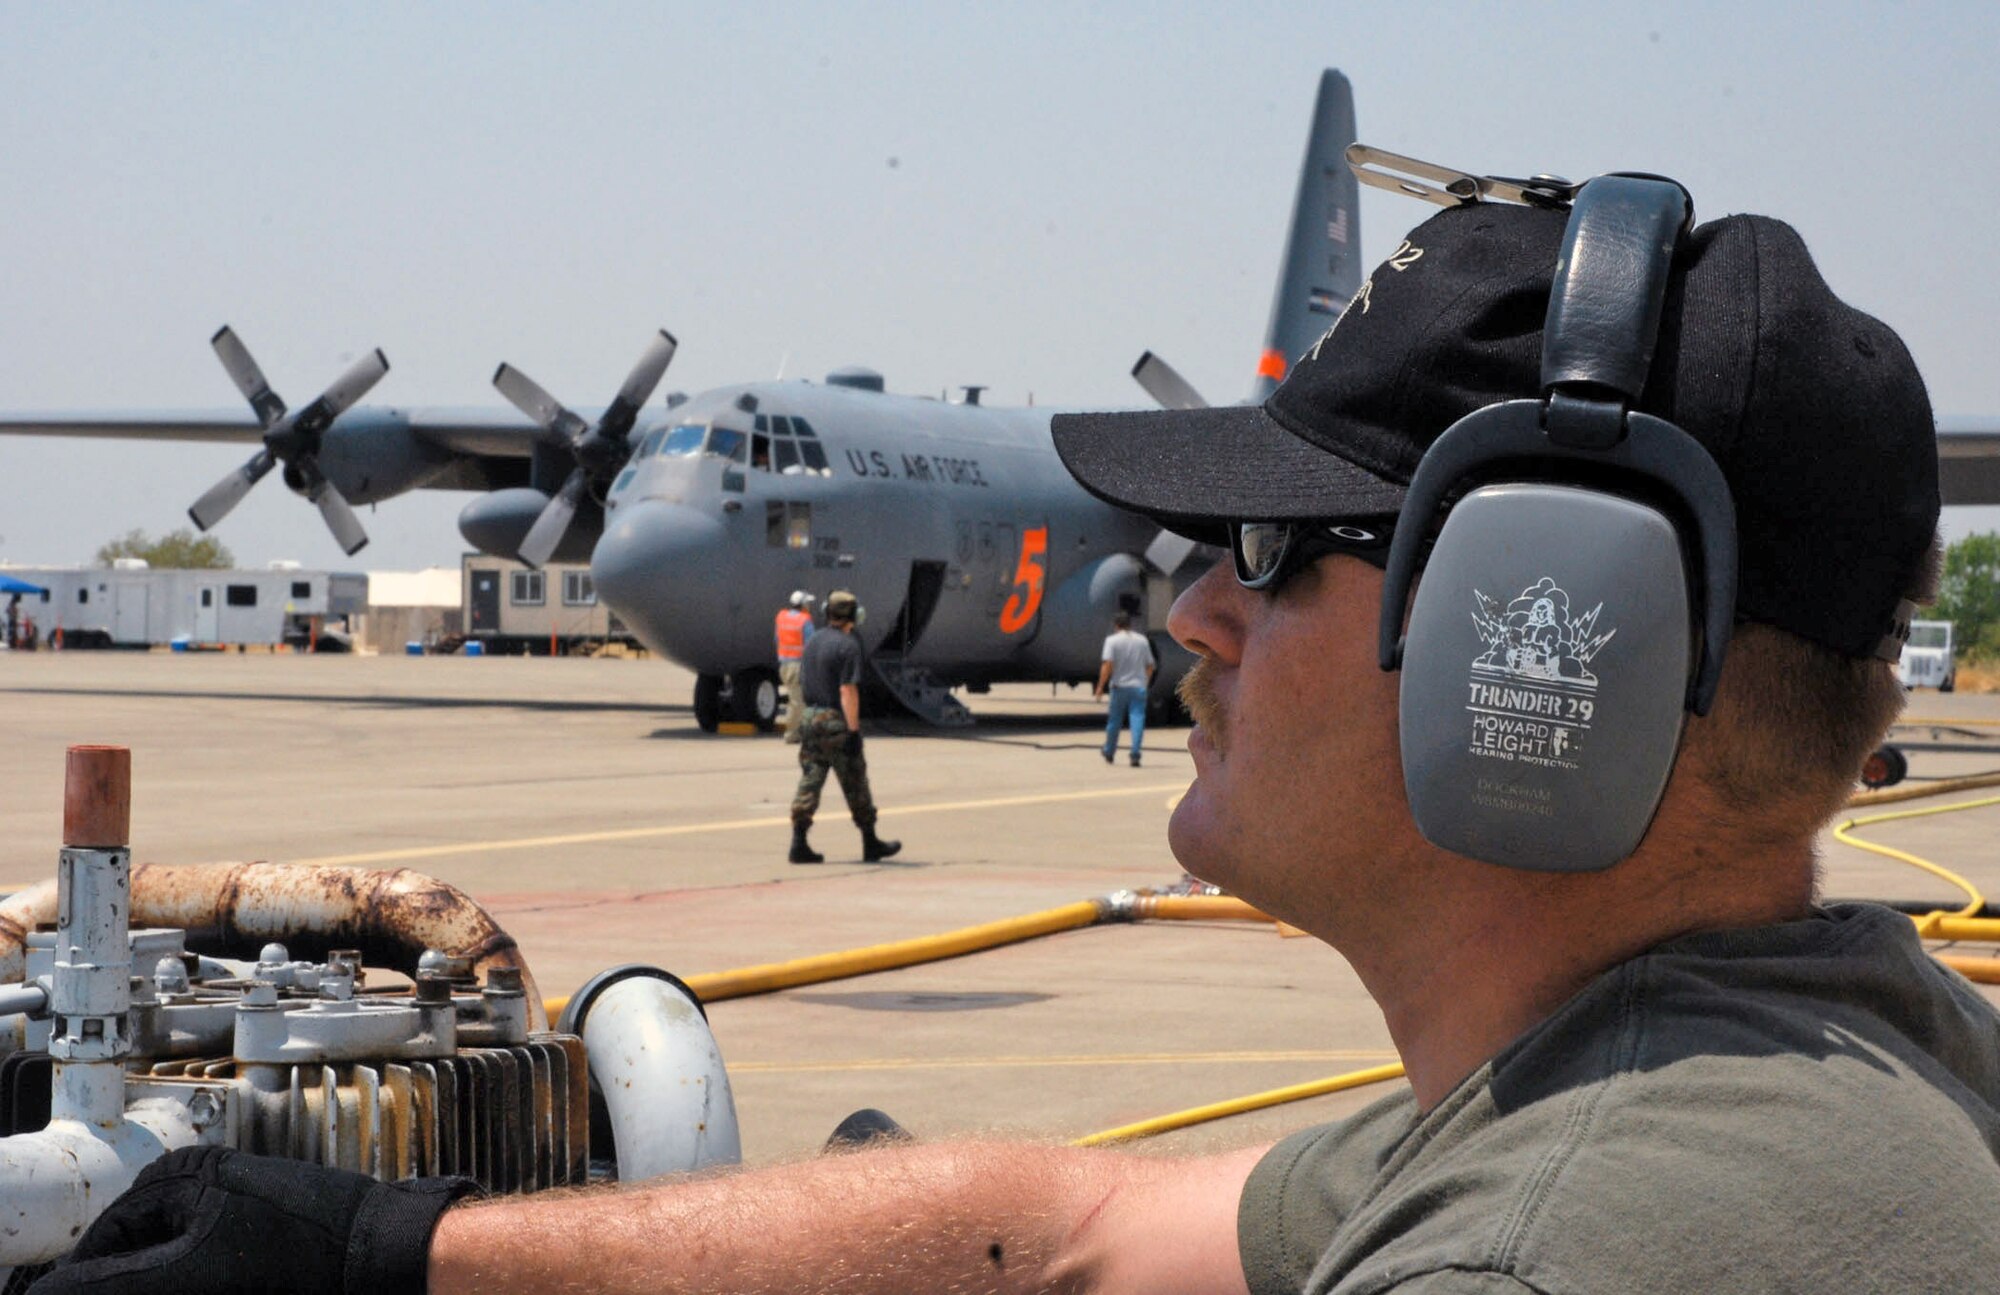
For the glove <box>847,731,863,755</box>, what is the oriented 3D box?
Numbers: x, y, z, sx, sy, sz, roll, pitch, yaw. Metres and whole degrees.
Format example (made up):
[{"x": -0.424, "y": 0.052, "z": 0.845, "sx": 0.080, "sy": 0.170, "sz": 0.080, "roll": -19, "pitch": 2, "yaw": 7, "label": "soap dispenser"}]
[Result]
[{"x": -0.799, "y": 0.503, "z": 13.300, "sx": 0.084, "sy": 0.158, "sz": 0.127, "roll": -5, "pitch": -24, "yaw": 2, "label": "glove"}]

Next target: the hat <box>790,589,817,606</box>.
[{"x": -1.730, "y": -0.421, "z": 21.538, "sx": 0.171, "sy": 0.102, "sz": 0.249, "roll": 0, "pitch": -1, "yaw": 45, "label": "hat"}]

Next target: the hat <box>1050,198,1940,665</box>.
[{"x": 0.583, "y": -0.288, "z": 2.919, "sx": 1.039, "sy": 0.454, "sz": 0.631, "roll": 3, "pitch": 9, "yaw": 14, "label": "hat"}]
